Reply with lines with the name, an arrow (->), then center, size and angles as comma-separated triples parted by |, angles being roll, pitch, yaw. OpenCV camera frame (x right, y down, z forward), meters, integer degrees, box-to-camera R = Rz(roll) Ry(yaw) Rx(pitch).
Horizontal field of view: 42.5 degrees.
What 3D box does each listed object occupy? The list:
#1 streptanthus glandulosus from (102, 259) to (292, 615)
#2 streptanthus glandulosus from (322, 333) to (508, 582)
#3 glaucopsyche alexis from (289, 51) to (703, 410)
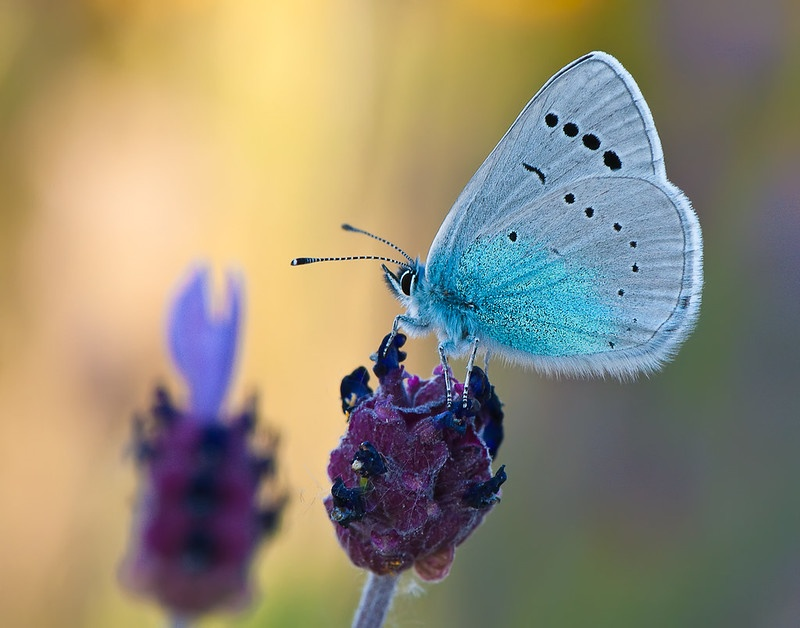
streptanthus glandulosus -> -0.741, 0.528, 3.903 | 0.583, 1.348, 0.206 | 0, 1, -15
streptanthus glandulosus -> 0.059, 0.626, 4.421 | 0.766, 1.070, 0.501 | 1, 1, -4
glaucopsyche alexis -> 0.763, -0.472, 5.034 | 1.349, 1.529, 0.400 | 1, 1, 18
